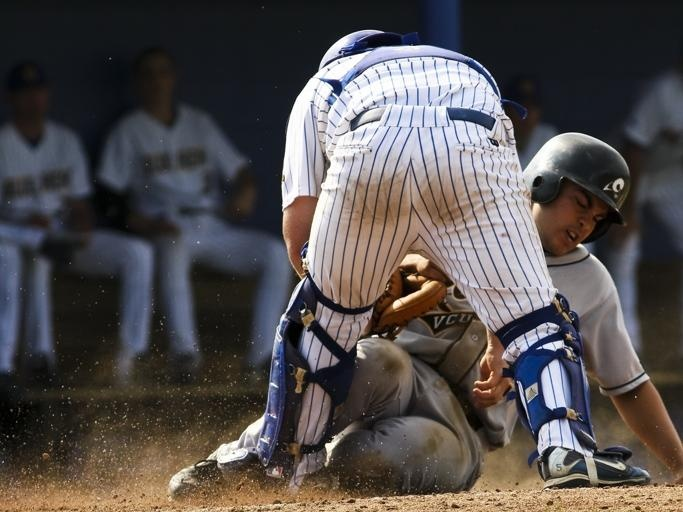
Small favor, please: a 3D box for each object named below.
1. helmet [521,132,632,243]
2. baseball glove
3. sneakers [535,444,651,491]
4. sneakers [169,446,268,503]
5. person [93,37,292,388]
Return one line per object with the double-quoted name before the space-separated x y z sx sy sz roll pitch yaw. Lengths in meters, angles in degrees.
"helmet" 1.056 -0.366 6.140 0.375 0.414 0.492 20 -14 -20
"baseball glove" 0.312 0.184 5.785 0.364 0.130 0.265 -36 47 -21
"sneakers" 1.053 0.876 5.392 0.485 0.227 0.179 2 -6 -21
"sneakers" -0.586 0.971 5.861 0.319 0.144 0.259 -25 -6 3
"person" -0.833 -0.155 6.973 0.834 2.097 0.670 -12 -12 -10
